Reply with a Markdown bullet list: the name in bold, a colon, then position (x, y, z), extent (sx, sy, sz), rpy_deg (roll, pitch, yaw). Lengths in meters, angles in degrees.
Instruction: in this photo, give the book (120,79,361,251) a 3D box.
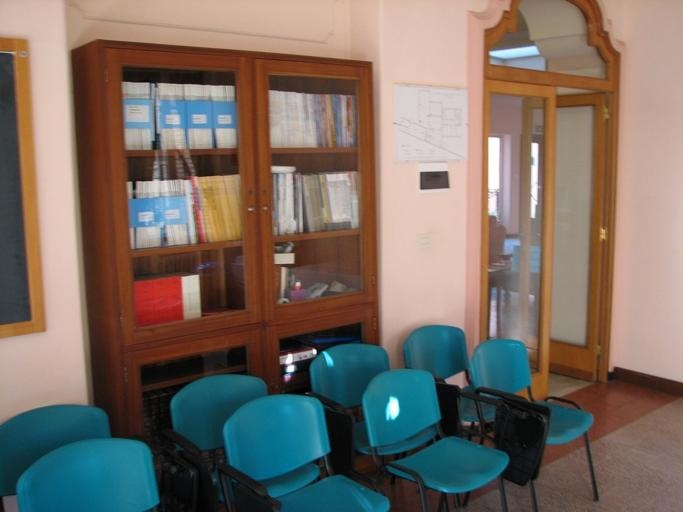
- **book**: position (-0.555, -0.545, 3.192), extent (1.438, 0.896, 0.137), rpy_deg (-7, 12, -29)
